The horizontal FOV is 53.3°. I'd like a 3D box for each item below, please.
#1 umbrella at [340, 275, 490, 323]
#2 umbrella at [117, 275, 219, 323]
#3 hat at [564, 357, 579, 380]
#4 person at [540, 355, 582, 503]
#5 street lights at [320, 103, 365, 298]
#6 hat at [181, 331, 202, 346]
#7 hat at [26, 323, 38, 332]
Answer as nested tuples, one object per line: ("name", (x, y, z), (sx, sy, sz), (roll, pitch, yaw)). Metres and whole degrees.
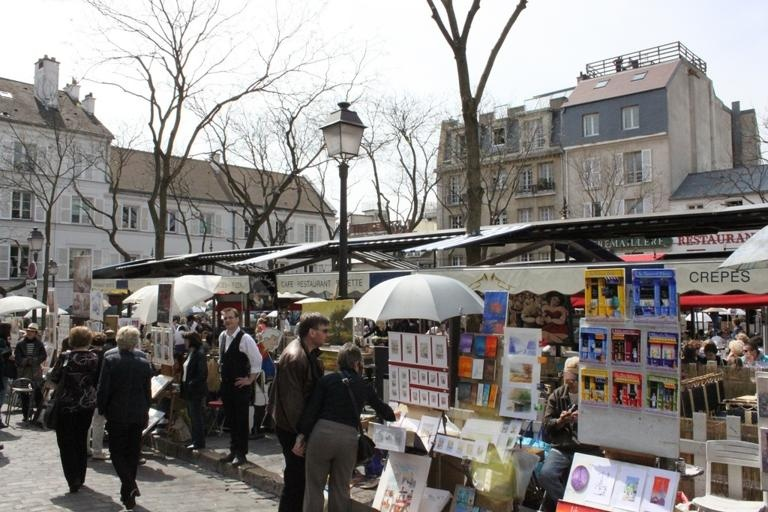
("umbrella", (0.525, 0.717, 12.606), (1.151, 0.401, 1.191), (-9, -14, 26))
("umbrella", (-5.067, 0.966, 18.555), (1.474, 0.503, 1.491), (-14, 9, 33))
("hat", (3.048, 1.817, 12.499), (0.270, 0.373, 0.364), (1, -8, 8))
("person", (2.827, 2.866, 12.399), (0.603, 2.451, 0.748), (0, -5, 12))
("street lights", (-0.779, -1.115, 14.788), (0.696, 3.806, 0.699), (4, -6, -29))
("hat", (-3.762, 1.626, 14.973), (0.301, 0.304, 0.236), (-15, 4, -1))
("hat", (-8.779, 1.726, 19.126), (0.264, 0.119, 0.303), (3, -12, -20))
